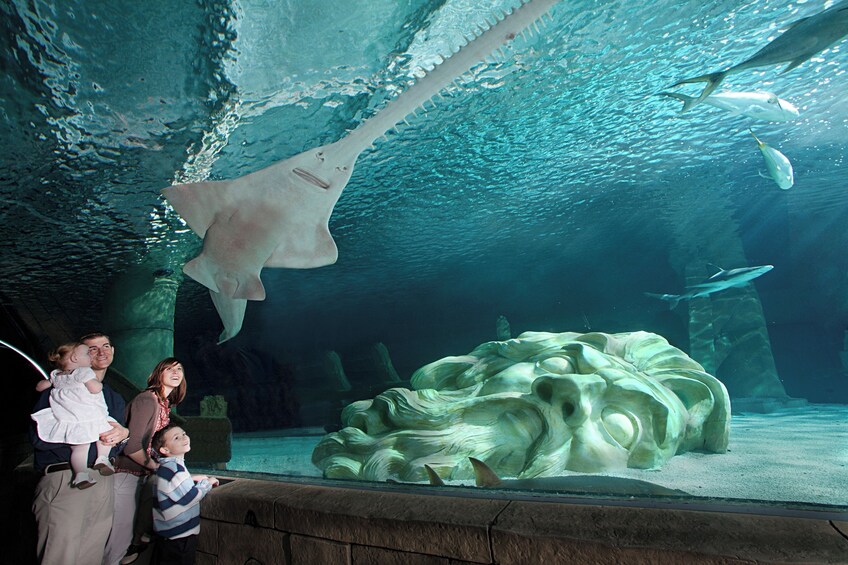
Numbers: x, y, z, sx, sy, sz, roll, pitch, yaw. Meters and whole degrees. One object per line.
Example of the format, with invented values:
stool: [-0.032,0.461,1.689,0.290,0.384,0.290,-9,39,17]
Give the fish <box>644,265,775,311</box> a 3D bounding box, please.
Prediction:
fish: [3.065,0.039,6.106,0.978,0.214,0.280,-18,16,46]

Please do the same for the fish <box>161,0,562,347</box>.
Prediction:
fish: [-1.044,-0.760,4.432,4.109,1.289,0.300,-27,5,23]

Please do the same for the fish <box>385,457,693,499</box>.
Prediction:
fish: [0.878,1.444,4.195,1.448,0.238,0.310,-4,-50,10]

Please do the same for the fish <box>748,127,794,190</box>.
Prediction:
fish: [2.940,-1.018,4.822,0.244,0.516,0.503,-17,-16,30]

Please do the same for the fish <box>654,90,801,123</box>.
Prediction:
fish: [2.318,-1.363,4.528,1.325,0.270,0.301,5,13,13]

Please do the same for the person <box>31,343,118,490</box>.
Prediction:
person: [-2.559,0.989,4.216,0.457,1.060,0.311,6,-20,-42]

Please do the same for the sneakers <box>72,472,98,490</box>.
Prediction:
sneakers: [-2.480,1.456,4.190,0.159,0.134,0.121,1,-15,-27]

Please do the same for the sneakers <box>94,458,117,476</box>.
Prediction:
sneakers: [-2.352,1.381,4.246,0.096,0.074,0.154,-13,-37,-22]
